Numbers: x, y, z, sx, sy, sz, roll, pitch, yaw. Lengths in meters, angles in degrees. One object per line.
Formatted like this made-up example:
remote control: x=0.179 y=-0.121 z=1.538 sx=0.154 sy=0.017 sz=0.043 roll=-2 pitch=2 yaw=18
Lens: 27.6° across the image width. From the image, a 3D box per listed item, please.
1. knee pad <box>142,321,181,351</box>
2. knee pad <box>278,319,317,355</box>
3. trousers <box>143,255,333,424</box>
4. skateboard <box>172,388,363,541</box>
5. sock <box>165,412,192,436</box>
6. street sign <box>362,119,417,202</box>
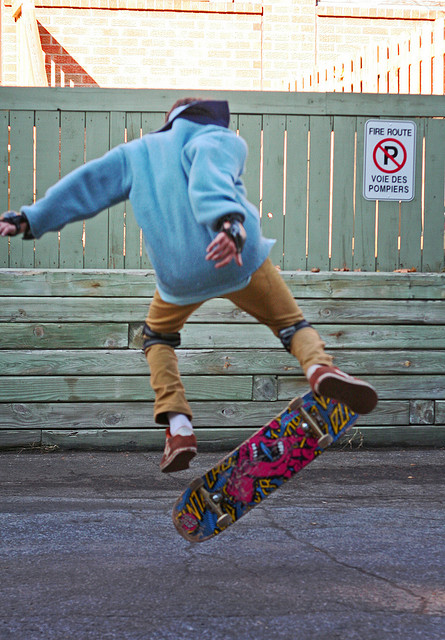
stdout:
knee pad: x=-0.319 y=0.084 z=4.648 sx=0.161 sy=0.087 sz=0.113 roll=-3 pitch=51 yaw=1
knee pad: x=0.356 y=0.079 z=4.557 sx=0.137 sy=0.088 sz=0.181 roll=-48 pitch=19 yaw=-25
trousers: x=0.127 y=0.080 z=4.550 sx=1.055 sy=0.322 sz=1.188 roll=6 pitch=37 yaw=14
skateboard: x=0.141 y=0.785 z=4.558 sx=1.137 sy=0.271 sz=0.154 roll=-31 pitch=-6 yaw=-42
sock: x=-0.214 y=0.515 z=4.500 sx=0.115 sy=0.107 sz=0.114 roll=-1 pitch=8 yaw=-8
street sign: x=1.282 y=-1.233 z=7.016 sx=0.394 sy=0.617 sz=0.134 roll=0 pitch=8 yaw=4
